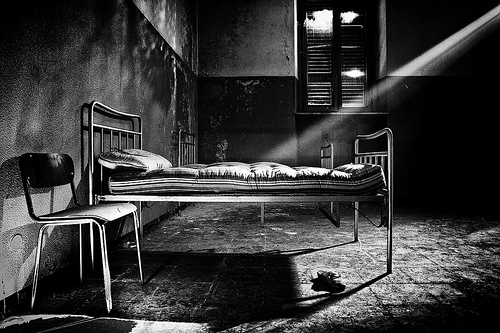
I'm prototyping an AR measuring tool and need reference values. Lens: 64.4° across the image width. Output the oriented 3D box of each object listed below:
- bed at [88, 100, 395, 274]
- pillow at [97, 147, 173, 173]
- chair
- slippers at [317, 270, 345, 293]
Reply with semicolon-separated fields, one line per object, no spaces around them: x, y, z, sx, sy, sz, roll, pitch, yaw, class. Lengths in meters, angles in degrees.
-0.040;0.147;4.115;2.694;1.436;1.472;0;3;0;bed
-1.042;-0.046;3.637;0.465;0.122;0.468;16;5;33;pillow
-1.337;0.476;3.227;0.853;1.192;0.607;0;7;5;chair
0.679;0.934;3.280;0.146;0.122;0.232;-3;6;-30;slippers
